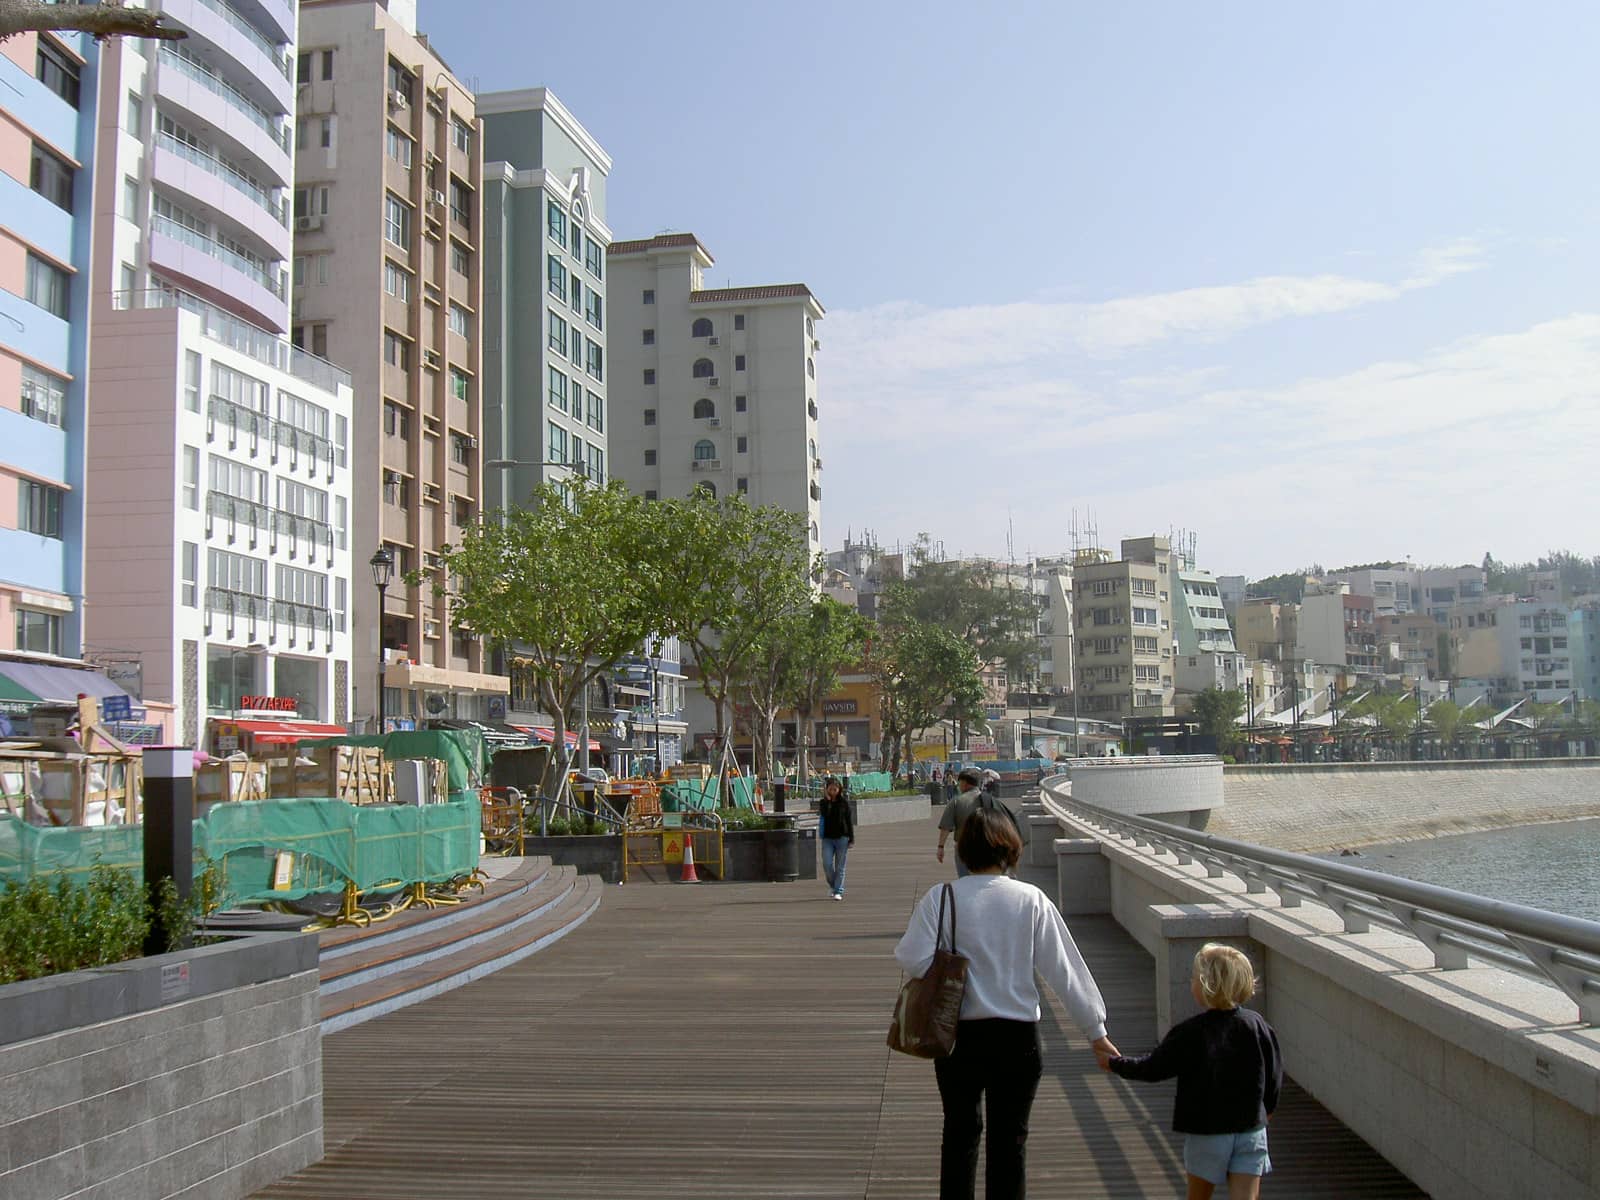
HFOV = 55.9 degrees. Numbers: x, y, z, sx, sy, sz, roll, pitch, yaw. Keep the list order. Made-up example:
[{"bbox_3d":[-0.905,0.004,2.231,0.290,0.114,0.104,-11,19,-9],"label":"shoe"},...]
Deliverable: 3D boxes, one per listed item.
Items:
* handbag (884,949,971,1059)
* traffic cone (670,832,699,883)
[{"bbox_3d":[0.621,1.952,7.355,0.205,0.570,0.446,23,-30,-23],"label":"handbag"},{"bbox_3d":[-2.176,4.600,26.945,0.623,1.106,0.637,3,-8,-28],"label":"traffic cone"}]
